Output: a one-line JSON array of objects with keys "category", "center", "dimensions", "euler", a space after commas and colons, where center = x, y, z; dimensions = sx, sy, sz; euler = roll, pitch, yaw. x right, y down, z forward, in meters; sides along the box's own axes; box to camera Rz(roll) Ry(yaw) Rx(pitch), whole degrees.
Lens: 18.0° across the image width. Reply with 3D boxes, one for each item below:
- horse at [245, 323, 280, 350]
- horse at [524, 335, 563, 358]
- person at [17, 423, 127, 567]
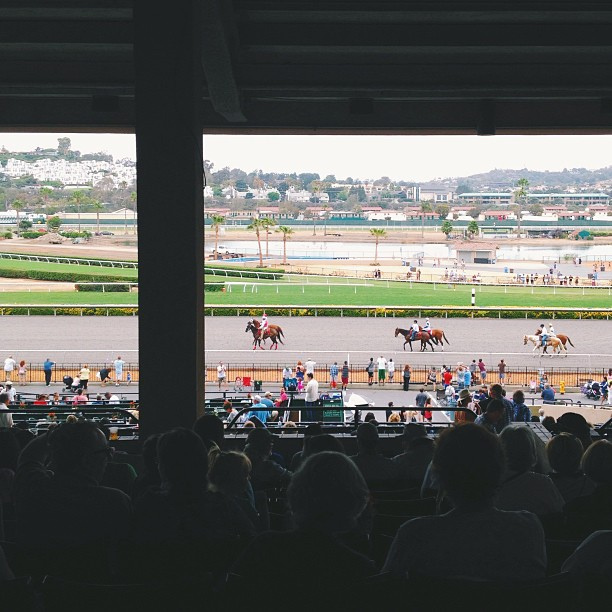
[{"category": "horse", "center": [-1.023, 0.789, 45.323], "dimensions": [0.762, 0.618, 1.545], "euler": [-1, -2, -1]}, {"category": "horse", "center": [5.433, 1.001, 44.745], "dimensions": [0.876, 0.563, 2.203], "euler": [-1, -2, 6]}, {"category": "person", "center": [-2.118, 1.810, 18.157], "dimensions": [0.869, 1.341, 0.391], "euler": [0, -2, -5]}]
